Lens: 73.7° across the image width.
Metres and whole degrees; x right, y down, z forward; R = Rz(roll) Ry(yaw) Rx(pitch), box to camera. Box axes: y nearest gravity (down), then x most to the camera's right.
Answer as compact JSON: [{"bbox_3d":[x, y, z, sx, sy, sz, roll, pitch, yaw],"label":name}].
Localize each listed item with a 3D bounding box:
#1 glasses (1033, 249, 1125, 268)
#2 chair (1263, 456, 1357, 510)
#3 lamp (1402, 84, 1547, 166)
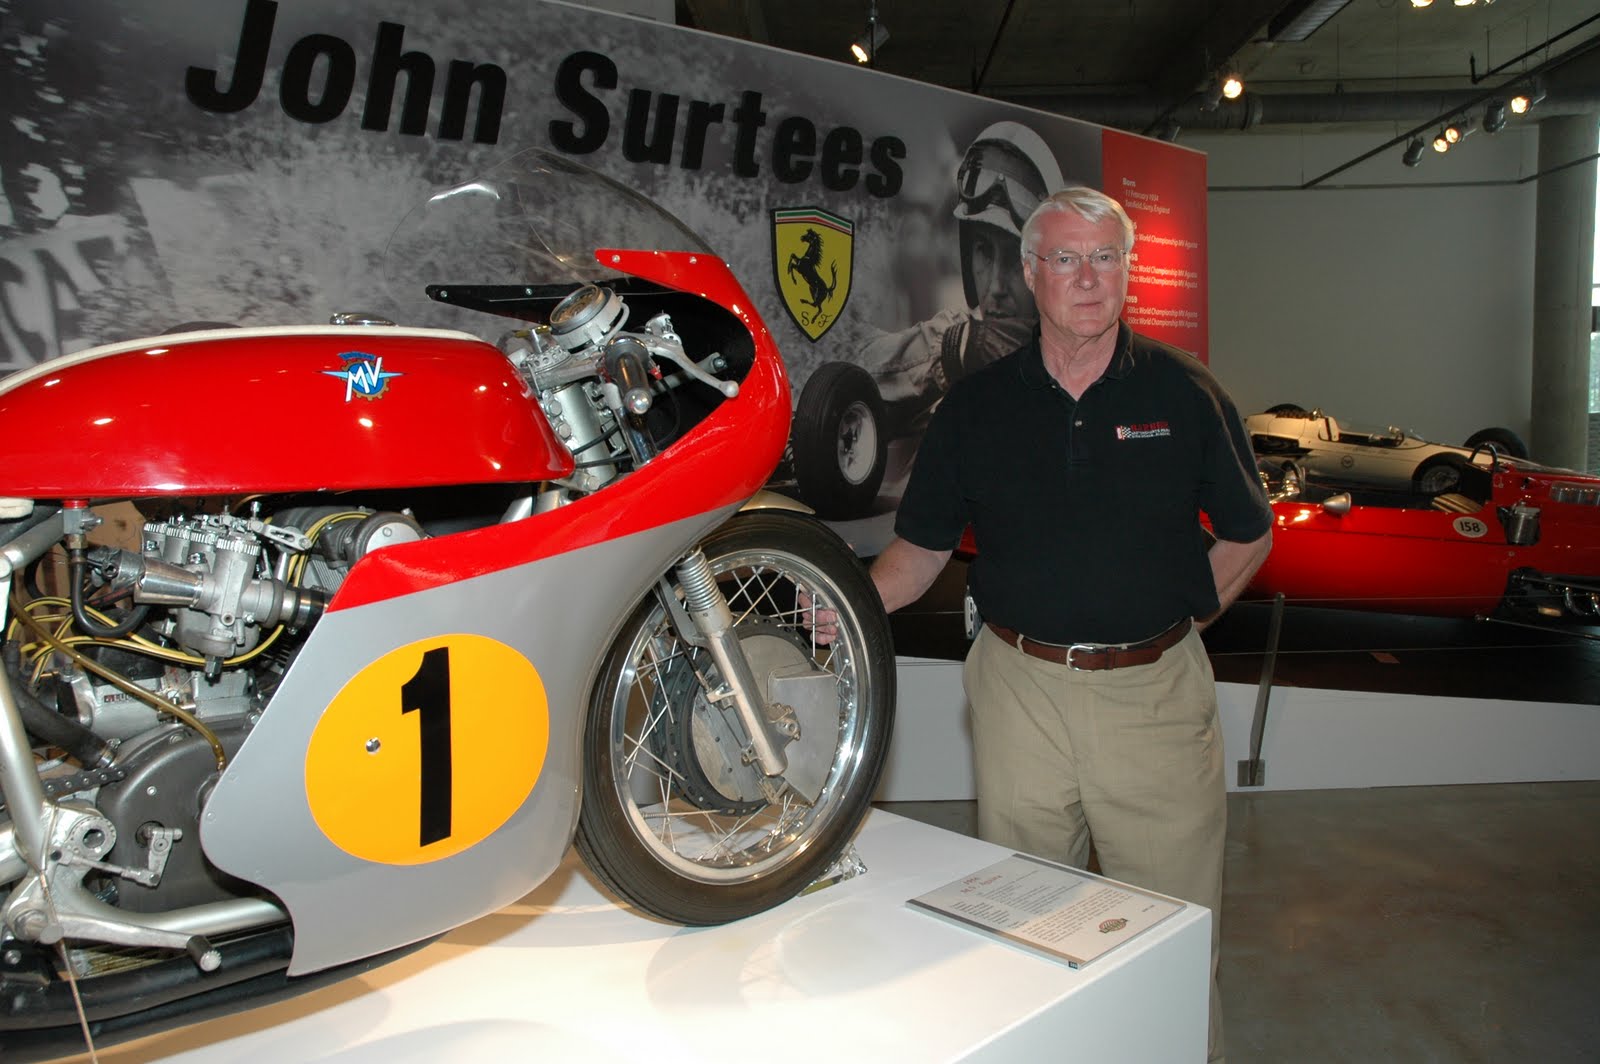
[{"bbox_3d":[0.630,-0.615,2.414,0.183,0.043,0.039,1,10,12],"label":"glasses"},{"bbox_3d":[2.216,-0.204,4.757,0.435,0.134,0.265,10,-10,2],"label":"chair"},{"bbox_3d":[3.380,-2.010,5.351,0.419,0.277,0.611,-10,13,-42],"label":"lamp"}]
